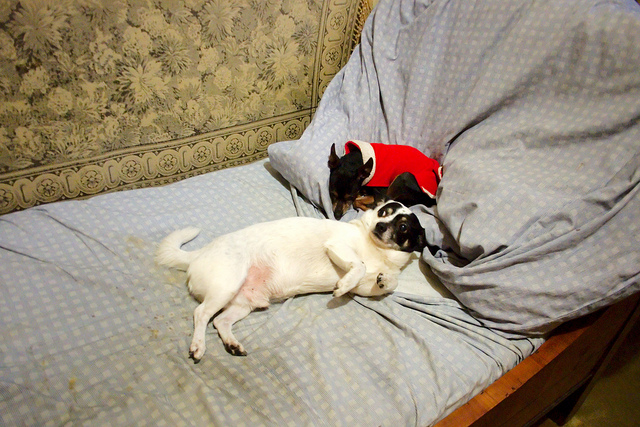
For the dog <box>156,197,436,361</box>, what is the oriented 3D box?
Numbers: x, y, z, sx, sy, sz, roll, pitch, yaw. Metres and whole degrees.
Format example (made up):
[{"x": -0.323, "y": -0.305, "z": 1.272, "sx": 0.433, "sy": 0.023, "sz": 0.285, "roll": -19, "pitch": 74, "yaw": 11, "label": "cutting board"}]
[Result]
[{"x": -0.089, "y": 0.251, "z": 2.376, "sx": 1.078, "sy": 0.462, "sz": 0.862, "roll": -8, "pitch": 48, "yaw": -16, "label": "dog"}]

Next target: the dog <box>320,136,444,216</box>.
[{"x": 0.387, "y": -0.250, "z": 2.871, "sx": 0.671, "sy": 0.383, "sz": 0.456, "roll": 0, "pitch": 56, "yaw": 5, "label": "dog"}]

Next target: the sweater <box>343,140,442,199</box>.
[{"x": 0.492, "y": -0.293, "z": 2.812, "sx": 0.445, "sy": 0.189, "sz": 0.356, "roll": 1, "pitch": 24, "yaw": 4, "label": "sweater"}]
